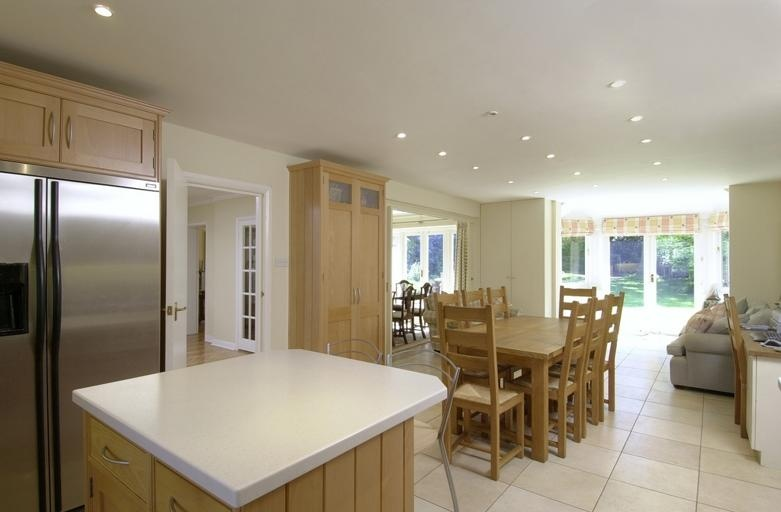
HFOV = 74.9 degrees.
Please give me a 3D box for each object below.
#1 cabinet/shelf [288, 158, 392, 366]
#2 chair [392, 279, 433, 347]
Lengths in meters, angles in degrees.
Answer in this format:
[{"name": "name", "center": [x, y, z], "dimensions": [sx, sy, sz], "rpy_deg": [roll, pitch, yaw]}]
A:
[{"name": "cabinet/shelf", "center": [-0.663, 0.018, 6.220], "dimensions": [0.817, 2.318, 1.309], "rpy_deg": [12, 17, 39]}, {"name": "chair", "center": [0.379, 1.112, 9.349], "dimensions": [0.396, 0.873, 1.124], "rpy_deg": [1, -1, 25]}]
